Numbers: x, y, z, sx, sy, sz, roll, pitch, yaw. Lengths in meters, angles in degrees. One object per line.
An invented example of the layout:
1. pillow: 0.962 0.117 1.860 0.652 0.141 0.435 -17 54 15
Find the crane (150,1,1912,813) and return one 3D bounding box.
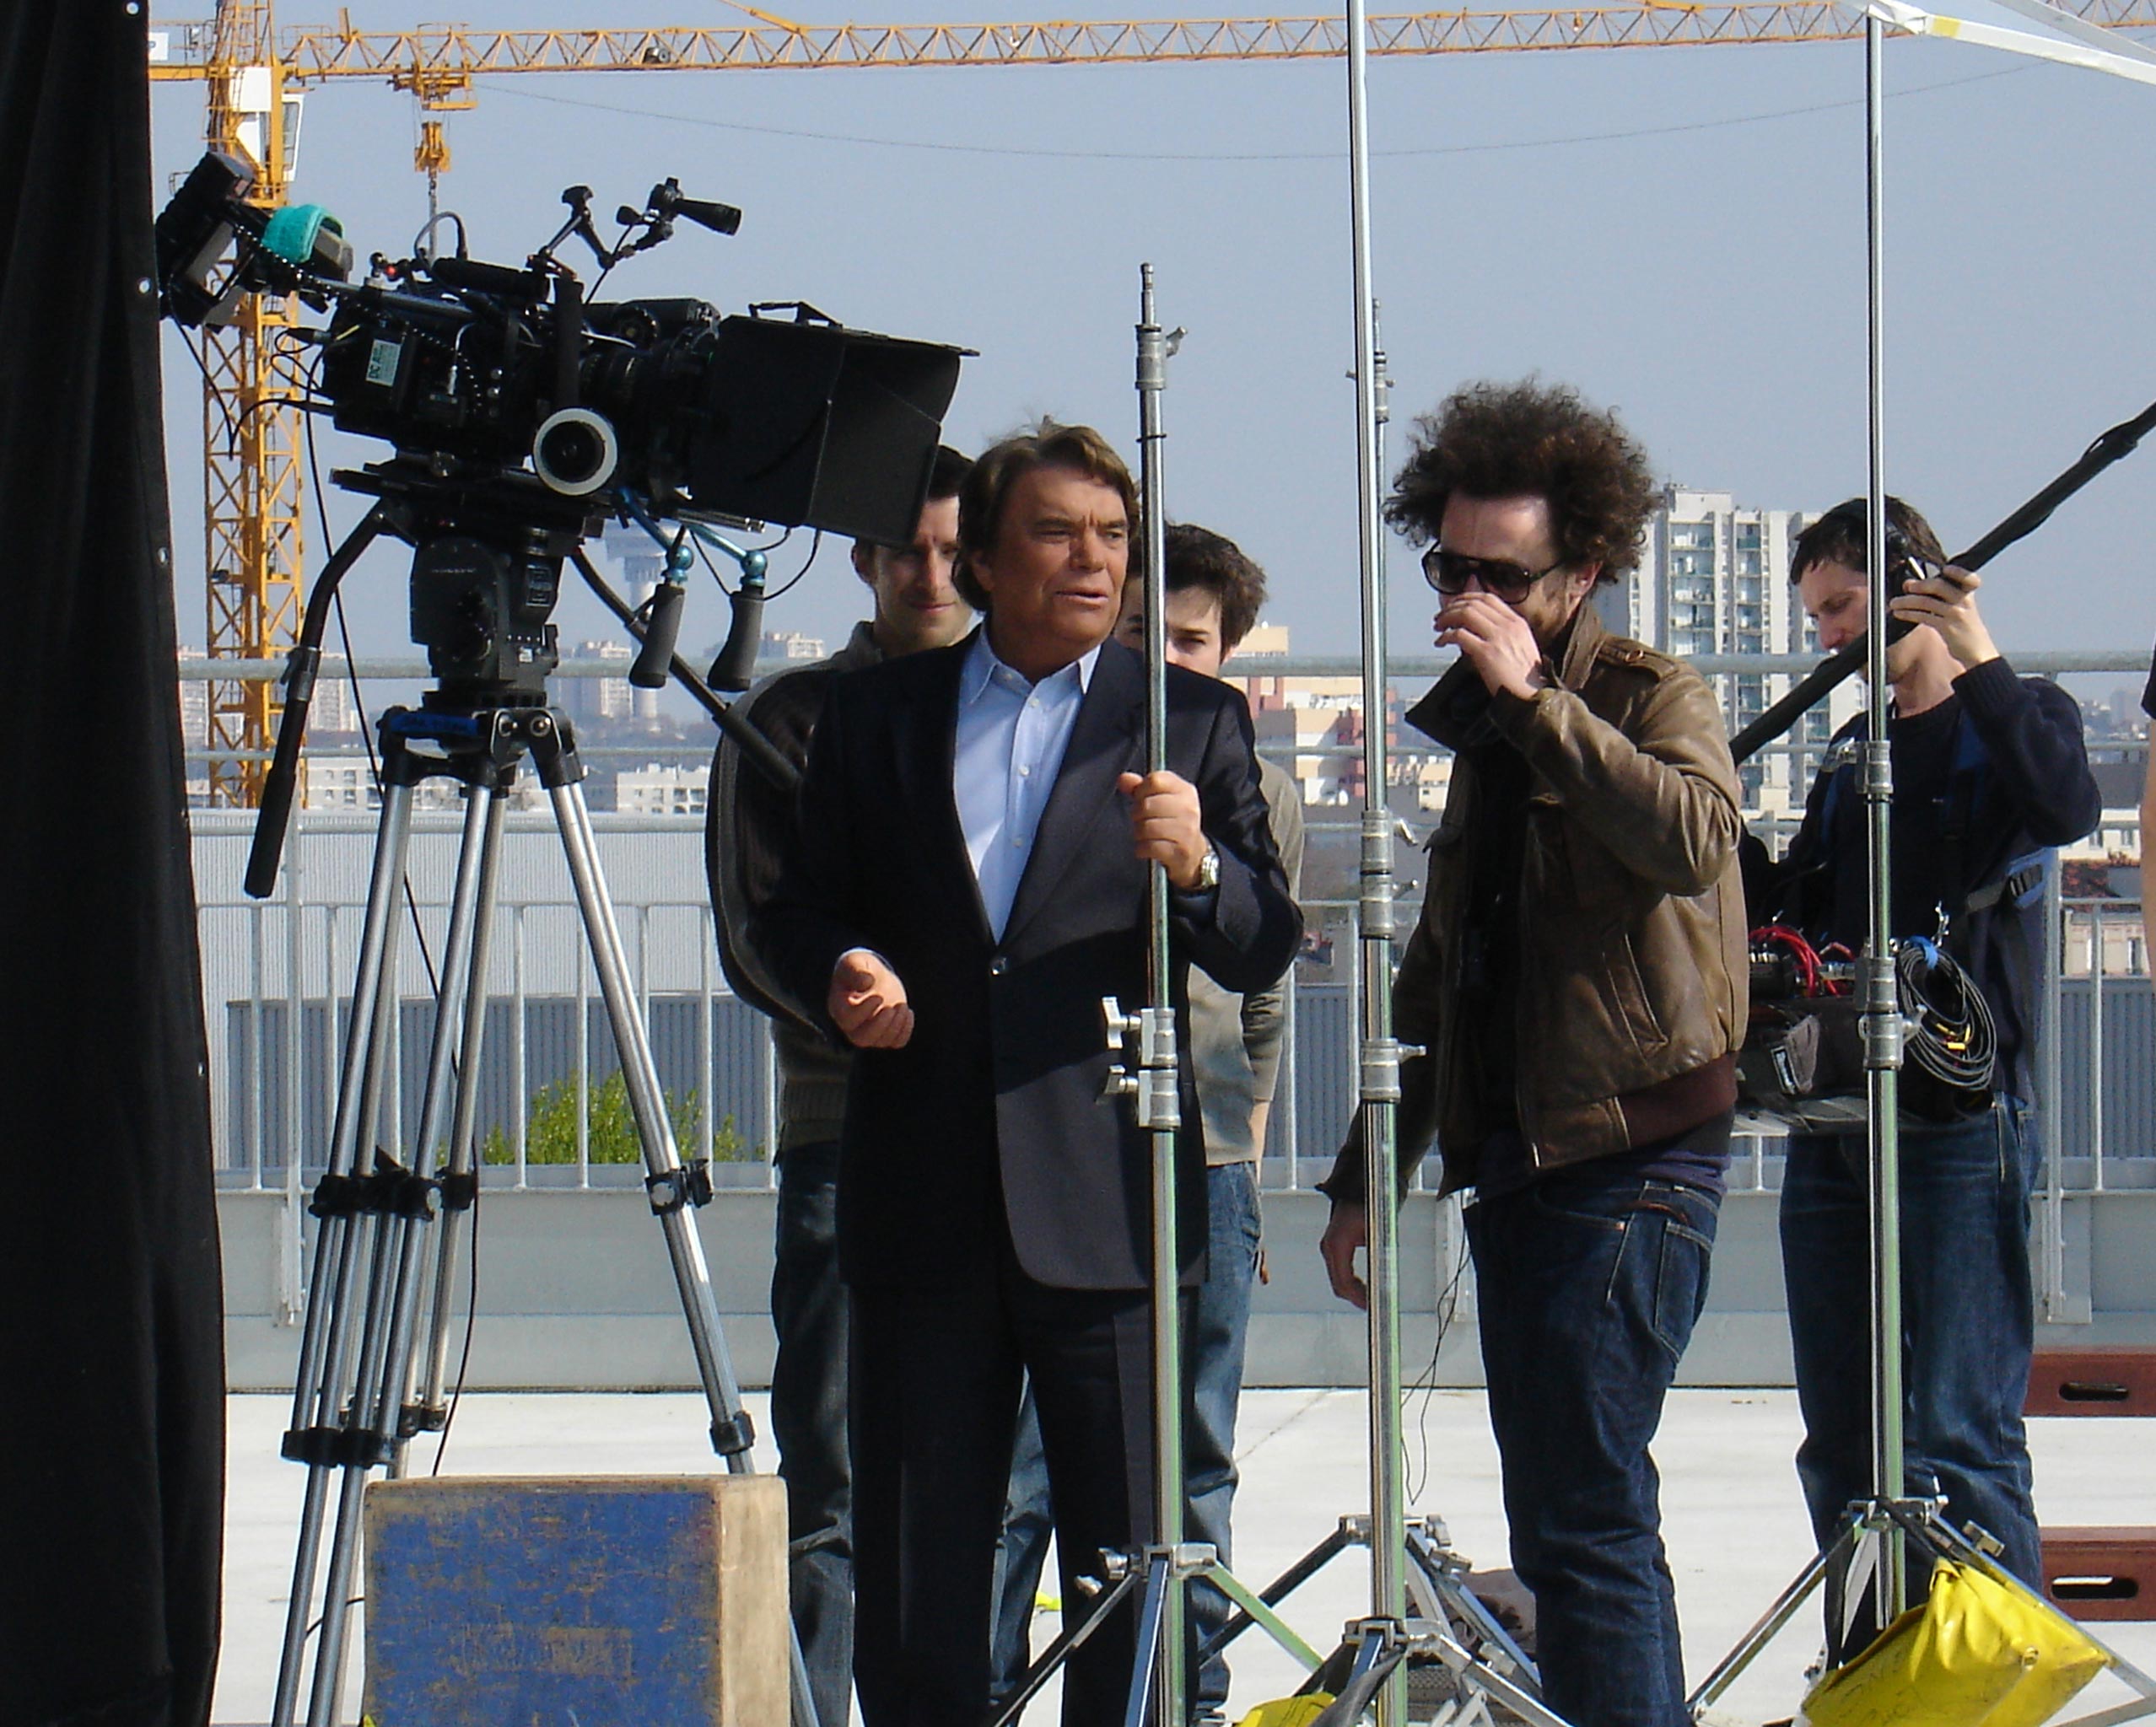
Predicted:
1. crane: -0.104 -1.552 19.556 6.345 3.930 0.490 -3 -14 3

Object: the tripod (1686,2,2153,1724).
1. tripod: 2.198 -0.006 15.564 1.141 4.649 0.722 0 0 8

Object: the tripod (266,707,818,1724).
1. tripod: -1.589 0.955 15.542 1.180 2.781 1.418 0 0 -8
